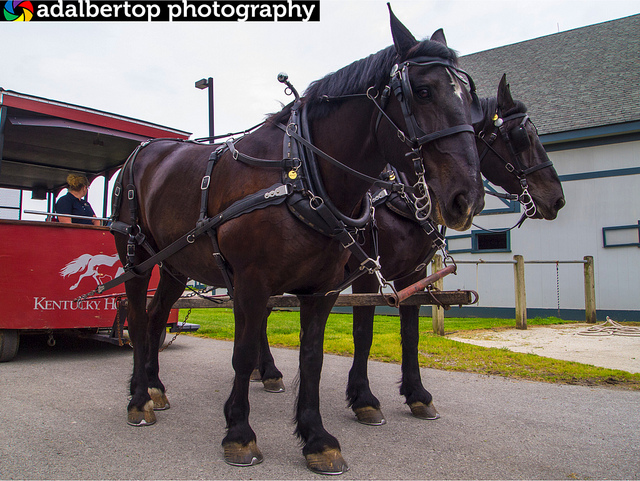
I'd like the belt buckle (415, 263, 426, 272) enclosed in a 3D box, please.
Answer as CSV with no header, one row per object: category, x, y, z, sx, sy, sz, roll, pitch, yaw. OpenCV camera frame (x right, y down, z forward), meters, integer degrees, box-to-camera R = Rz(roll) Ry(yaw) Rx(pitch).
belt buckle,0.984,0.266,4.977,0.037,0.135,0.012,24,37,-21

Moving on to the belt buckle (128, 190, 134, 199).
belt buckle,-1.817,-0.437,4.828,0.077,0.109,0.011,2,-4,22

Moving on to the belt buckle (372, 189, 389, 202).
belt buckle,0.575,-0.428,4.832,0.114,0.033,0.120,-28,11,-9

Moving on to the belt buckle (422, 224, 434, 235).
belt buckle,1.020,-0.106,4.751,0.097,0.100,0.024,-34,17,-29

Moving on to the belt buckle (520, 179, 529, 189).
belt buckle,2.093,-0.578,5.154,0.060,0.089,0.026,-5,3,0

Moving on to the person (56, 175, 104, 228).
person,-3.412,-0.559,7.192,0.652,0.758,1.058,1,0,1

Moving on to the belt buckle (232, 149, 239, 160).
belt buckle,-0.678,-0.690,4.037,0.048,0.066,0.017,19,11,40

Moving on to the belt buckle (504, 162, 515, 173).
belt buckle,1.950,-0.743,5.196,0.100,0.059,0.024,47,34,20

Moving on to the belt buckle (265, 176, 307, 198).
belt buckle,-0.245,-0.387,3.731,0.238,0.138,0.056,-16,-21,4

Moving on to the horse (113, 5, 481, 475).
horse,-0.315,0.035,4.084,3.095,3.367,0.934,1,1,33

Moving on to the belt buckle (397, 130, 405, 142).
belt buckle,0.569,-0.735,3.548,0.030,0.068,0.067,-13,16,-34

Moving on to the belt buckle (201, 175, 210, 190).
belt buckle,-0.937,-0.466,4.135,0.068,0.116,0.031,2,-14,29

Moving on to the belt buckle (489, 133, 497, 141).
belt buckle,1.792,-1.071,5.228,0.050,0.071,0.026,2,-27,18

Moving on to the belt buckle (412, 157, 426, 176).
belt buckle,0.684,-0.508,3.480,0.073,0.123,0.033,-3,0,39

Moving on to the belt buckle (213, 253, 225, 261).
belt buckle,-0.797,0.130,3.962,0.054,0.057,0.037,-6,7,4

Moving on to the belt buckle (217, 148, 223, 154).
belt buckle,-0.840,-0.737,4.189,0.010,0.014,0.053,28,45,8
